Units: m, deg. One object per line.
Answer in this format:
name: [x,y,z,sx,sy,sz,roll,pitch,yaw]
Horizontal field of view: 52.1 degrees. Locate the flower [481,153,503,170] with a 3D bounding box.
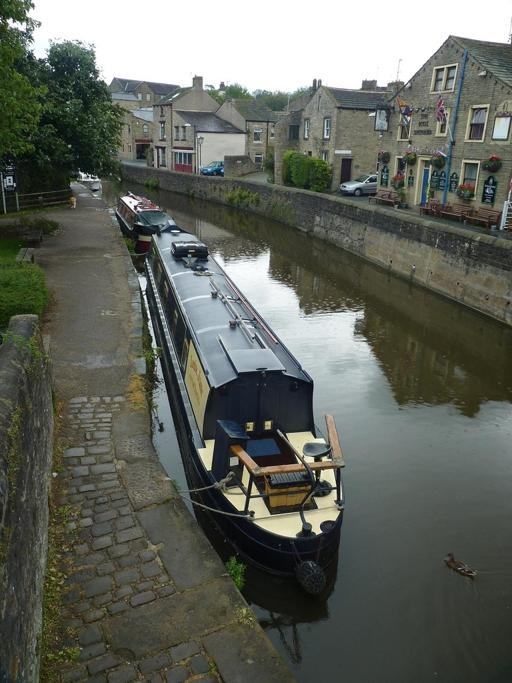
flower: [8.699,-6.480,19.263,0.575,0.404,0.554,5,59,31]

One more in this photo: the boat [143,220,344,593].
boat: [-0.677,0.365,9.201,1.774,1.657,8.374,-7,34,-17]

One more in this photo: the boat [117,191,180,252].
boat: [-4.867,-5.015,22.788,1.884,2.022,8.138,8,22,-19]

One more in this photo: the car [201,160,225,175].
car: [-3.833,-14.968,45.685,2.118,1.130,1.237,-20,38,-32]

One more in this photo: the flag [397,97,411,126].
flag: [6.890,-10.536,24.165,0.630,1.165,1.117,7,18,16]

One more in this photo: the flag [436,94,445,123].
flag: [7.156,-8.906,20.205,0.322,0.953,0.967,6,18,15]

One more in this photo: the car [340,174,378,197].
car: [6.228,-9.270,31.432,2.690,1.221,1.456,-7,25,-16]

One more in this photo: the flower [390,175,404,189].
flower: [6.958,-7.775,25.738,0.314,0.665,0.721,-4,18,-19]

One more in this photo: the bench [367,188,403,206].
bench: [6.619,-7.156,26.241,0.794,0.786,2.686,0,17,-8]

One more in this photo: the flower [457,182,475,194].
flower: [8.371,-6.061,20.757,0.524,0.310,0.467,23,36,36]
